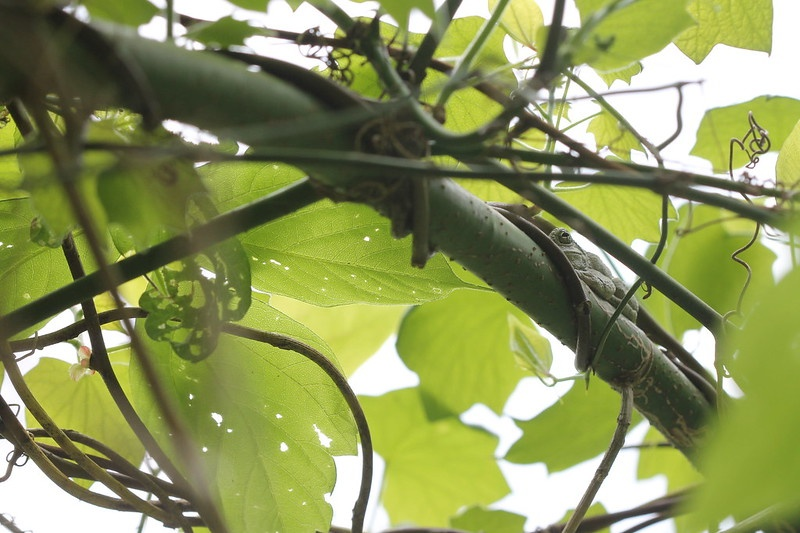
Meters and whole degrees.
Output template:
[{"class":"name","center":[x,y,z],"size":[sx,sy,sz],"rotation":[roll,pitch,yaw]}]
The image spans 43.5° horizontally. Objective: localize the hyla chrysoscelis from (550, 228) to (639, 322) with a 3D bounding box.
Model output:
[{"class":"hyla chrysoscelis","center":[0.175,0.007,0.933],"size":[0.116,0.077,0.043],"rotation":[28,-105,-21]}]
